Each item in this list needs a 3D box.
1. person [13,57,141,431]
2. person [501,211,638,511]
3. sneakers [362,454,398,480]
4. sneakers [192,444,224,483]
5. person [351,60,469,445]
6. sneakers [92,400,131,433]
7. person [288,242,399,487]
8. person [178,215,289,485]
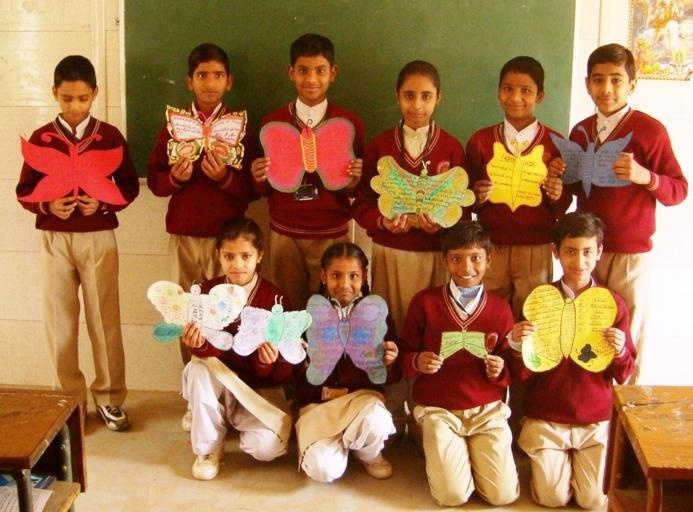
[{"bbox_3d":[-1.230,-0.061,2.973,0.527,1.703,0.307,-1,7,-14],"label":"person"},{"bbox_3d":[0.949,0.402,2.610,0.538,1.144,0.352,-3,7,-23],"label":"person"},{"bbox_3d":[0.144,0.871,2.690,0.128,0.051,0.076,17,23,42],"label":"sneakers"},{"bbox_3d":[-0.583,0.868,2.686,0.064,0.067,0.168,5,5,4],"label":"sneakers"},{"bbox_3d":[0.312,-0.053,2.922,0.495,1.580,0.490,-1,12,-4],"label":"person"},{"bbox_3d":[-1.081,0.747,2.989,0.208,0.084,0.078,28,31,33],"label":"sneakers"},{"bbox_3d":[0.001,0.426,2.762,0.438,0.957,0.484,0,7,-5],"label":"person"},{"bbox_3d":[-0.466,0.372,2.741,0.448,1.051,0.327,-1,7,-11],"label":"person"}]
